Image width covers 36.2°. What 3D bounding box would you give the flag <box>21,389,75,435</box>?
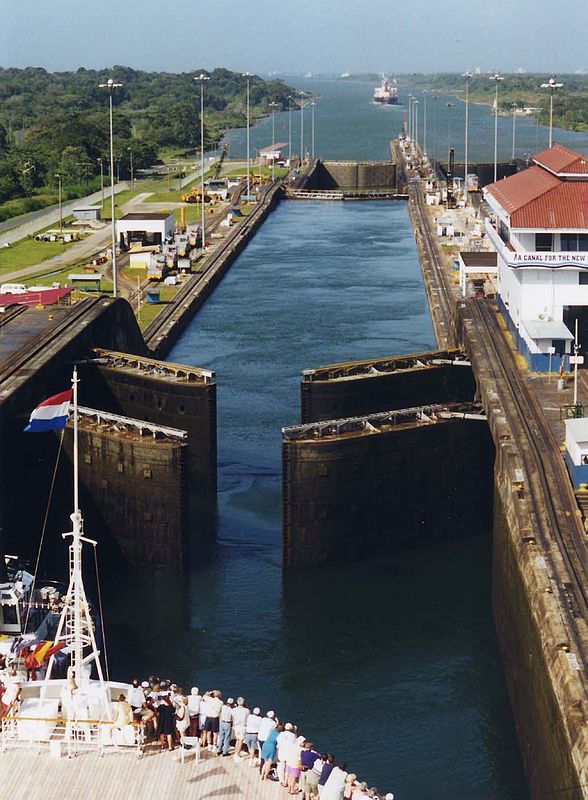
[{"bbox_3d":[-8.175,0.469,29.543,1.732,1.518,0.534,-6,9,8],"label":"flag"}]
